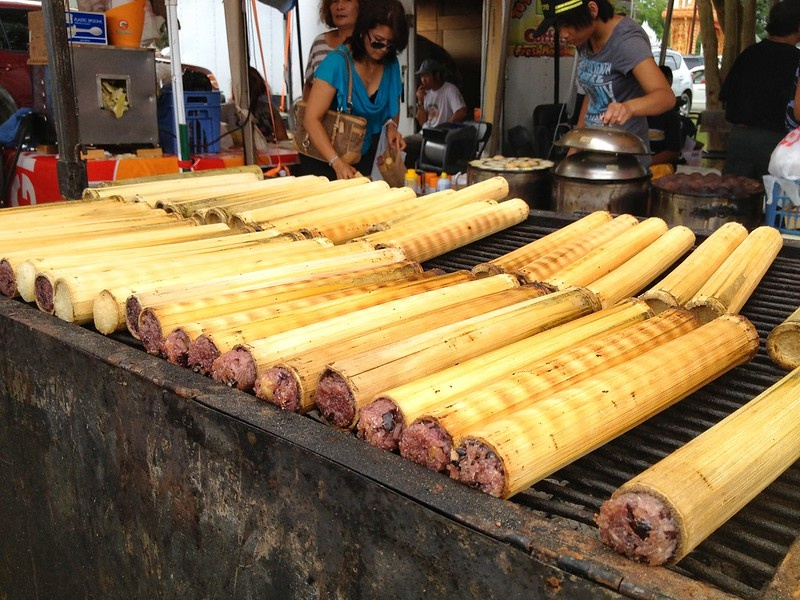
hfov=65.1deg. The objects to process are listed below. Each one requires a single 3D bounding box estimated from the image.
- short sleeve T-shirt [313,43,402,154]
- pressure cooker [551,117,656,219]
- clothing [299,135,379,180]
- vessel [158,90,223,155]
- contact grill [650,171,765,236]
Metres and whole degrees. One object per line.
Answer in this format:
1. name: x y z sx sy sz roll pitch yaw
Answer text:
1. short sleeve T-shirt: -0.334 -1.580 4.938 0.769 0.761 0.414 -24 58 -38
2. pressure cooker: 1.449 -0.881 4.515 0.586 0.708 0.663 5 22 14
3. clothing: -0.540 -1.299 5.574 0.531 0.150 0.538 -11 28 -33
4. vessel: -2.375 -2.028 7.120 0.532 0.599 0.852 -3 8 -19
5. contact grill: 2.000 -0.620 4.085 0.523 0.332 0.542 15 24 43
